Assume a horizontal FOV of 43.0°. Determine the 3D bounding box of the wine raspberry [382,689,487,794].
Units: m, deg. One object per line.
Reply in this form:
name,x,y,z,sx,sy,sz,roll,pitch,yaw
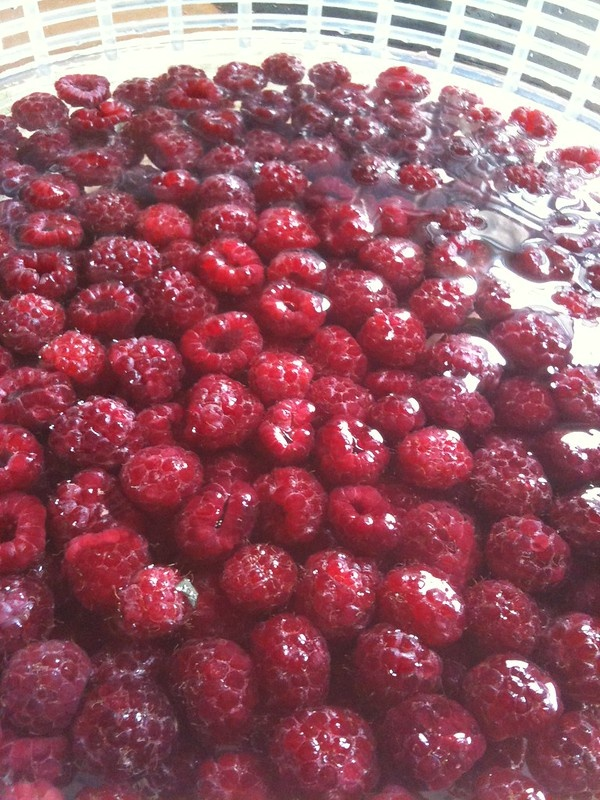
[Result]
wine raspberry,0.150,0.389,0.885,0.105,0.058,0.099,32,45,26
